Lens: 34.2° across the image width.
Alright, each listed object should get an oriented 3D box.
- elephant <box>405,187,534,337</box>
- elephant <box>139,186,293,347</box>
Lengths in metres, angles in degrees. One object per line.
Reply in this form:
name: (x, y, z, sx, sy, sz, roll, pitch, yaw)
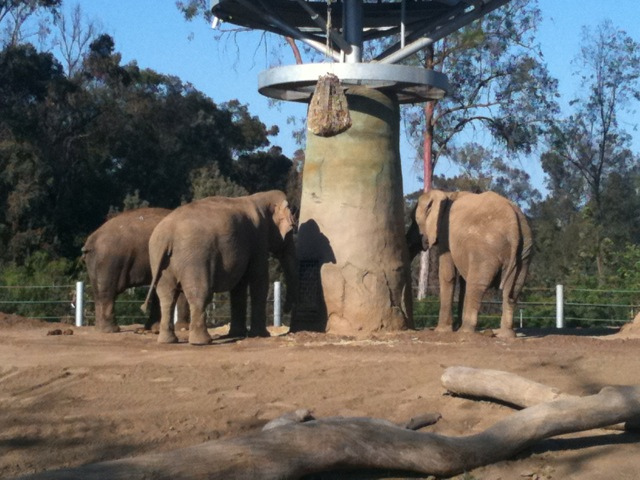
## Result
elephant: (2.880, 0.449, 22.193, 1.256, 3.277, 3.660, 2, 0, -32)
elephant: (-1.546, 0.540, 21.433, 4.198, 3.173, 1.720, -1, 0, -44)
